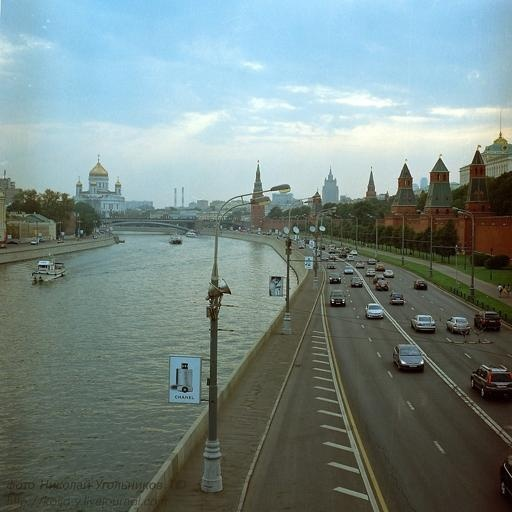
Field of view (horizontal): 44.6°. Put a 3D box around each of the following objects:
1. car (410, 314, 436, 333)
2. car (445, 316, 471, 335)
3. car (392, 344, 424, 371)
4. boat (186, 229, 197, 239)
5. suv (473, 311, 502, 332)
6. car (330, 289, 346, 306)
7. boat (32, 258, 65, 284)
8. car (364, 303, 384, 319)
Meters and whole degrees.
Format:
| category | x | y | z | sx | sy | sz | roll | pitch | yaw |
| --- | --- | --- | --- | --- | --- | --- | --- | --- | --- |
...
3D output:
| category | x | y | z | sx | sy | sz | roll | pitch | yaw |
| --- | --- | --- | --- | --- | --- | --- | --- | --- | --- |
| car | 11.164 | 4.500 | 41.765 | 1.456 | 1.010 | 1.515 | -1 | 2 | 12 |
| car | 13.318 | 4.552 | 41.421 | 0.686 | 0.680 | 1.871 | 0 | 4 | 8 |
| car | 7.406 | 4.963 | 30.371 | 1.144 | 1.016 | 1.673 | -1 | 2 | 1 |
| boat | -29.014 | -10.602 | 278.785 | 4.892 | 3.114 | 17.858 | -2 | 2 | -6 |
| suv | 15.733 | 4.349 | 43.002 | 1.094 | 1.146 | 2.141 | 0 | 8 | -1 |
| car | 7.212 | 3.705 | 55.630 | 0.894 | 1.038 | 2.031 | -1 | -5 | 3 |
| boat | -27.811 | 2.022 | 83.385 | 2.151 | 2.949 | 6.820 | 0 | 0 | 4 |
| car | 9.067 | 4.240 | 48.074 | 1.338 | 0.964 | 2.058 | -1 | 2 | 9 |
